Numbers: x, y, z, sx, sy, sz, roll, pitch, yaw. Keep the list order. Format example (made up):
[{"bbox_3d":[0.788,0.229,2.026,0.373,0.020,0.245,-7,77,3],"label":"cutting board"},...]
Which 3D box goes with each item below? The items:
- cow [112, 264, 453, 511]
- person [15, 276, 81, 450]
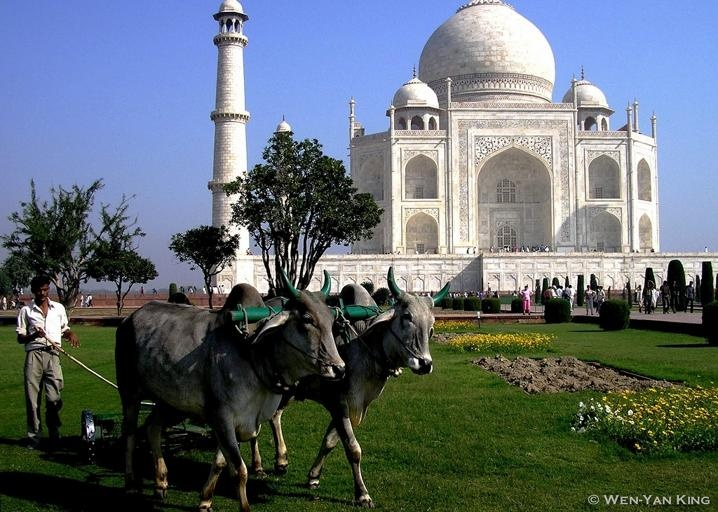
[{"bbox_3d":[-1.231,1.213,7.718,2.212,2.195,0.777,3,6,26],"label":"cow"},{"bbox_3d":[-3.466,1.106,9.276,0.607,1.809,0.951,-2,6,-21],"label":"person"}]
